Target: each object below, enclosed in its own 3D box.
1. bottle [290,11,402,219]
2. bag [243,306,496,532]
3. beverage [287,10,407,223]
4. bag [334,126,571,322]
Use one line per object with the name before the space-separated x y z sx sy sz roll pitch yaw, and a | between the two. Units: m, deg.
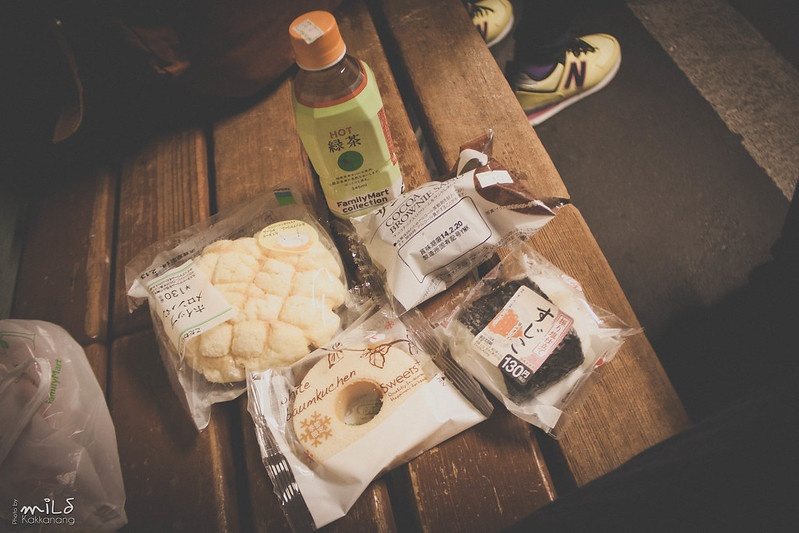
bottle | -0.109 -0.277 1.171 0.174 0.328 0.241 -22 62 -2
bag | -0.076 0.260 1.154 0.434 0.099 0.299 -31 64 -5
beverage | -0.111 -0.300 1.236 0.201 0.430 0.187 -14 53 3
bag | 0.100 -0.087 1.262 0.419 0.158 0.304 -34 50 -9
